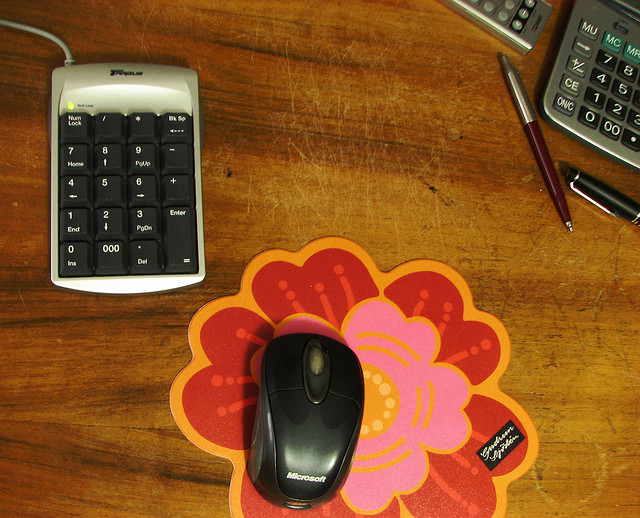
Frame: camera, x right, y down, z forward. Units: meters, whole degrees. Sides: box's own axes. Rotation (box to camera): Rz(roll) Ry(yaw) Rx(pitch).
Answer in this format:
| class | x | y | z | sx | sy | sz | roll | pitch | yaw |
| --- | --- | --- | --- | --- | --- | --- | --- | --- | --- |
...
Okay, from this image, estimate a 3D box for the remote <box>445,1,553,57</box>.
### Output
| class | x | y | z | sx | sy | sz | roll | pitch | yaw |
| --- | --- | --- | --- | --- | --- | --- | --- | --- | --- |
| remote | 0.266 | -0.360 | 0.940 | 0.150 | 0.030 | 0.066 | 29 | 90 | 1 |
